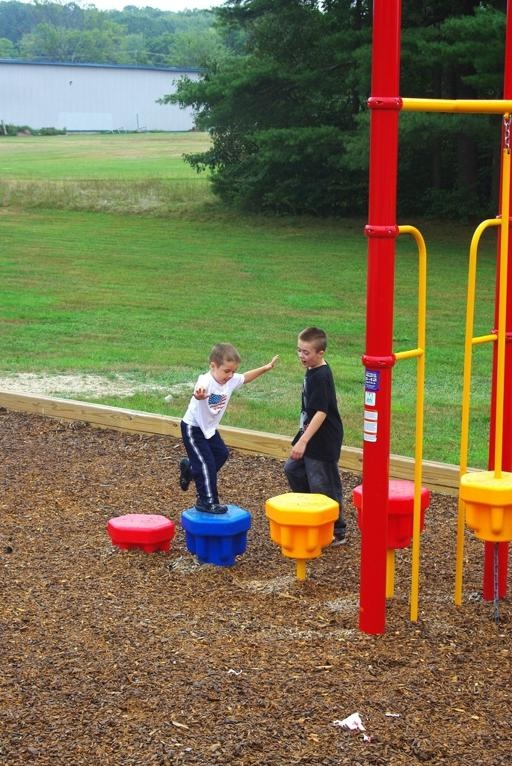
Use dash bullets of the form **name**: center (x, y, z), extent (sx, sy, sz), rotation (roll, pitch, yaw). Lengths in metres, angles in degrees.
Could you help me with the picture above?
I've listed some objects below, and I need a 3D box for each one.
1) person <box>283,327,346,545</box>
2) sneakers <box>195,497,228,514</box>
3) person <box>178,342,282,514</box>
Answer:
- **person**: center (0.316, 0.282, 6.319), extent (0.333, 1.113, 0.557), rotation (2, 10, 1)
- **sneakers**: center (-0.229, 0.617, 6.257), extent (0.142, 0.063, 0.065), rotation (0, 8, 9)
- **person**: center (-0.151, 0.309, 7.657), extent (0.658, 1.116, 0.915), rotation (3, 10, 13)
